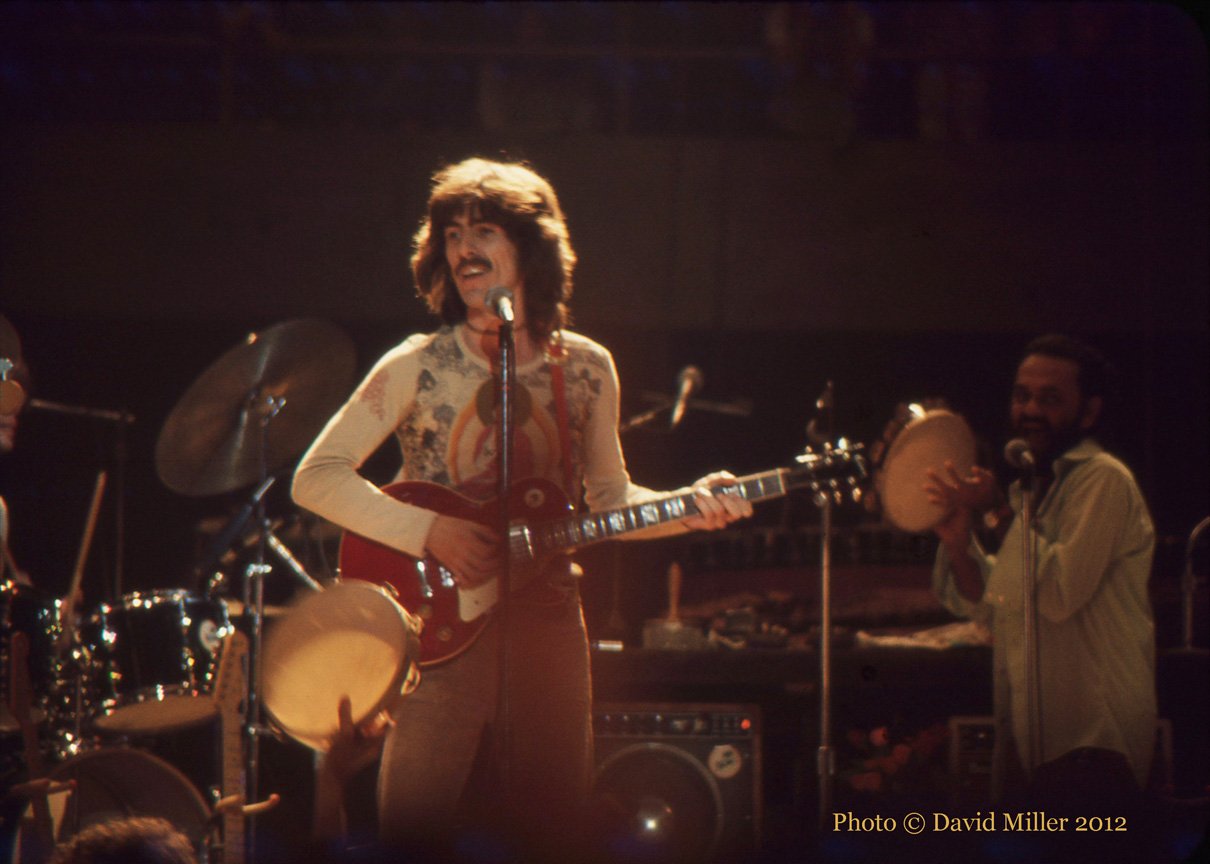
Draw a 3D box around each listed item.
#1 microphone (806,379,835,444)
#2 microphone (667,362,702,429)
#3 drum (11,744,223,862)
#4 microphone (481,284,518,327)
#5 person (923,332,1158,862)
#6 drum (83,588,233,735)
[{"bbox_3d":[1.018,-0.091,7.281,0.076,0.305,0.212,10,-1,27],"label":"microphone"},{"bbox_3d":[0.399,-0.201,7.917,0.141,0.147,0.420,-23,16,27],"label":"microphone"},{"bbox_3d":[-2.035,1.605,6.682,0.671,0.481,0.337,3,-10,-9],"label":"drum"},{"bbox_3d":[-0.401,-0.481,5.913,0.103,0.097,0.228,5,15,-6],"label":"microphone"},{"bbox_3d":[2.077,0.623,7.261,0.940,2.223,0.275,0,-9,6],"label":"person"},{"bbox_3d":[-2.030,1.038,7.019,0.626,0.637,1.067,3,-10,-11],"label":"drum"}]
